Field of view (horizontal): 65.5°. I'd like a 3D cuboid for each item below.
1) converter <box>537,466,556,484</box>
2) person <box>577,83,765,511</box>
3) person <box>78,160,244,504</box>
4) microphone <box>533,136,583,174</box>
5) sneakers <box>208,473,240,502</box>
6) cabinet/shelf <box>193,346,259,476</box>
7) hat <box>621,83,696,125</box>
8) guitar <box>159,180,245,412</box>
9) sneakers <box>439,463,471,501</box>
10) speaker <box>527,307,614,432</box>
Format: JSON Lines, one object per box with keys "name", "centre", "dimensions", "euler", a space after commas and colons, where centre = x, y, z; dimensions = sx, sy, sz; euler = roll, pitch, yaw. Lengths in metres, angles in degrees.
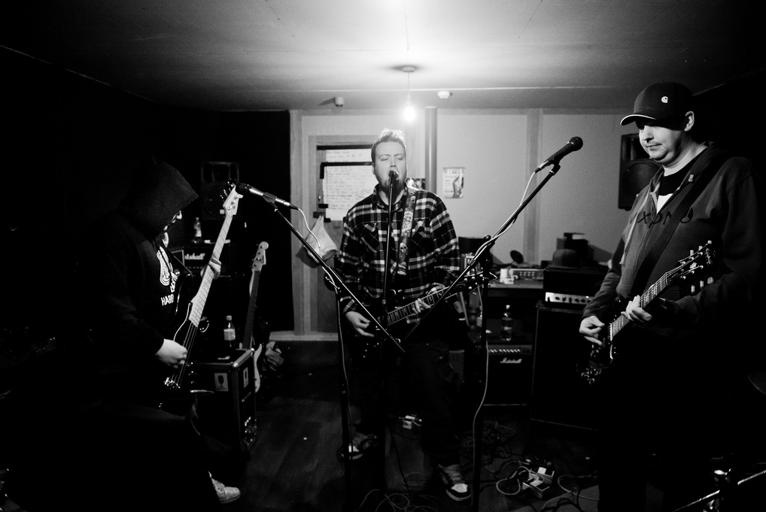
{"name": "converter", "centre": [1.061, 1.426, 3.890], "dimensions": [0.099, 0.098, 0.025], "euler": [-2, -12, -9]}
{"name": "person", "centre": [1.599, 0.277, 3.336], "dimensions": [0.862, 2.477, 0.428], "euler": [4, 5, 31]}
{"name": "person", "centre": [-1.396, 0.455, 3.522], "dimensions": [0.702, 2.008, 0.425], "euler": [0, 5, -23]}
{"name": "microphone", "centre": [1.041, -0.591, 3.485], "dimensions": [0.227, 0.216, 0.493], "euler": [4, 5, 20]}
{"name": "sneakers", "centre": [-0.938, 1.465, 3.758], "dimensions": [0.303, 0.121, 0.104], "euler": [1, -2, -6]}
{"name": "cabinet/shelf", "centre": [-1.161, 1.079, 4.387], "dimensions": [0.385, 0.611, 0.623], "euler": [-1, -4, -9]}
{"name": "hat", "centre": [1.590, -0.874, 3.427], "dimensions": [0.421, 0.211, 0.296], "euler": [-7, 11, -26]}
{"name": "guitar", "centre": [-1.041, 0.284, 3.719], "dimensions": [0.514, 1.763, 0.238], "euler": [-1, 42, -22]}
{"name": "sneakers", "centre": [0.462, 1.450, 3.893], "dimensions": [0.143, 0.148, 0.399], "euler": [-5, 7, -15]}
{"name": "speaker", "centre": [1.323, 0.875, 4.655], "dimensions": [0.580, 1.005, 0.561], "euler": [1, -13, -4]}
